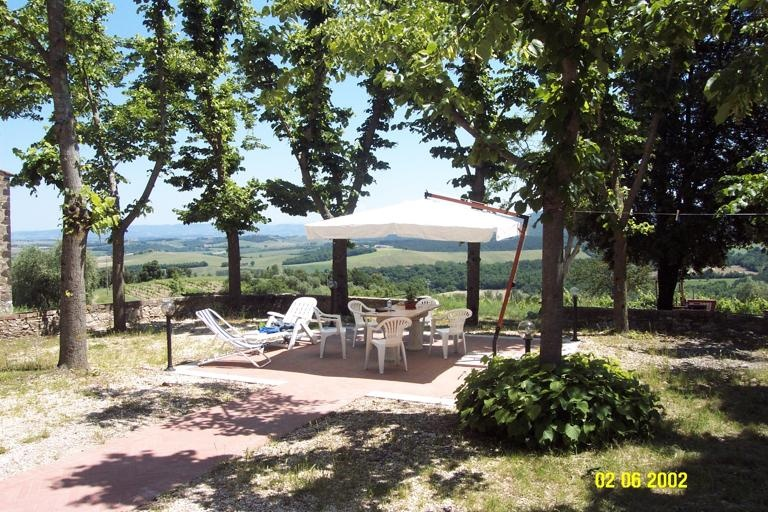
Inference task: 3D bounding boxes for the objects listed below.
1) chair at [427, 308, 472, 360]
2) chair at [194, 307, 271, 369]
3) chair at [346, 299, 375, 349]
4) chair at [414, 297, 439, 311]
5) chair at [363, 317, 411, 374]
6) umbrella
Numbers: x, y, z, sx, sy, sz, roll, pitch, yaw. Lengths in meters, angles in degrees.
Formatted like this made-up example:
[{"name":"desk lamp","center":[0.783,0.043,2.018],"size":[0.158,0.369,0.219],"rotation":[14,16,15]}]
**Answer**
[{"name":"chair","center":[1.401,1.666,14.546],"size":[0.890,0.967,0.850],"rotation":[1,-5,14]},{"name":"chair","center":[-3.375,1.823,14.314],"size":[1.893,1.228,1.148],"rotation":[10,8,3]},{"name":"chair","center":[-0.413,1.600,15.576],"size":[0.756,1.048,0.774],"rotation":[0,3,32]},{"name":"chair","center":[1.014,1.142,15.810],"size":[0.328,0.321,0.321],"rotation":[0,-5,-7]},{"name":"chair","center":[0.092,1.717,13.508],"size":[0.915,1.101,0.959],"rotation":[7,11,42]},{"name":"umbrella","center":[1.016,0.919,14.405],"size":[4.726,3.147,3.481],"rotation":[4,6,28]}]
